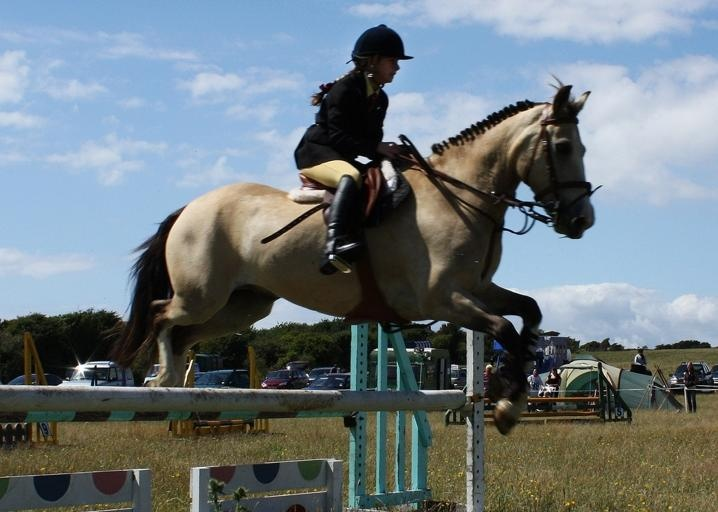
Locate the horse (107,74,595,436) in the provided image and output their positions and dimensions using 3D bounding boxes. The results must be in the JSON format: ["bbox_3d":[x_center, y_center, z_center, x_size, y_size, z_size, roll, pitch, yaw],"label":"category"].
[{"bbox_3d":[-0.149,0.039,8.612,4.780,3.009,1.060,-2,-7,21],"label":"horse"}]

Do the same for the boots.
[{"bbox_3d":[-0.154,-0.248,7.980,0.446,1.012,0.231,-8,-47,1],"label":"boots"}]
